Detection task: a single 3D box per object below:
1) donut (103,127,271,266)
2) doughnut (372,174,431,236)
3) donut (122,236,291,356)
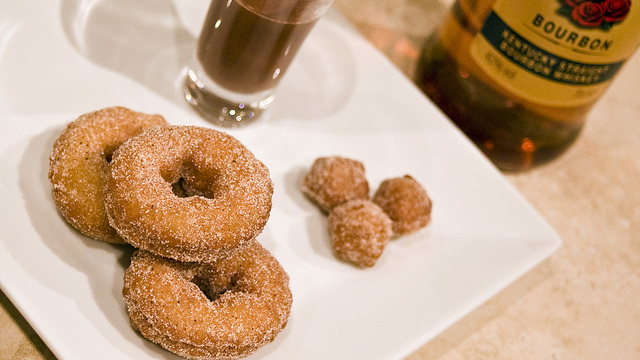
[{"bbox_3d":[-0.249,0.016,0.949,0.265,0.093,0.269,40,47,16],"label":"donut"},{"bbox_3d":[0.173,0.049,1.138,0.115,0.067,0.112,5,66,-9],"label":"doughnut"},{"bbox_3d":[-0.188,0.216,0.951,0.296,0.112,0.191,-9,67,-11],"label":"donut"}]
